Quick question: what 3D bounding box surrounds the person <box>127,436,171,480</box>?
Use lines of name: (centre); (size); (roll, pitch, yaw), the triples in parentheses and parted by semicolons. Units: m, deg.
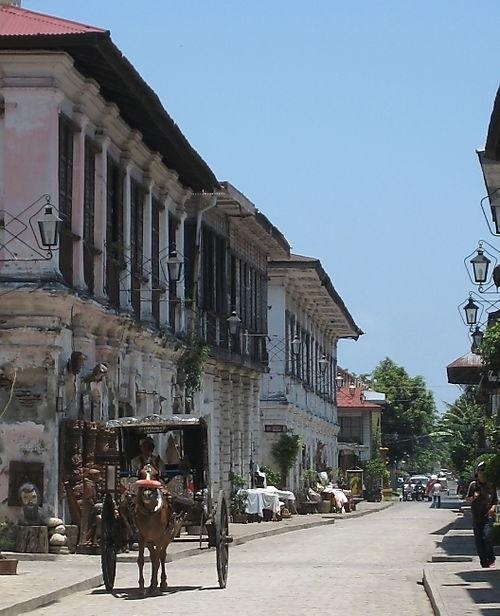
person: (-1.270, 1.891, 16.880); (0.301, 0.608, 0.979); (-1, -8, -3)

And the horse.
horse: (-1.168, 2.675, 16.222); (0.470, 1.437, 1.226); (-1, -17, -3)

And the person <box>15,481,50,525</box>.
person: (-3.324, 2.940, 20.231); (0.511, 0.974, 0.541); (-1, -17, -15)

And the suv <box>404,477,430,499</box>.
suv: (10.628, 11.544, 86.149); (1.244, 1.295, 2.277); (-3, -15, 8)

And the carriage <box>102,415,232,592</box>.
carriage: (-1.237, 2.524, 17.400); (1.524, 2.403, 3.473); (-1, -8, 1)

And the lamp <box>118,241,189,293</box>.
lamp: (-1.711, -0.840, 26.531); (0.471, 0.903, 1.476); (-9, 8, -43)

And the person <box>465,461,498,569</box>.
person: (3.384, 2.983, 19.416); (0.392, 1.610, 0.956); (-4, -17, 9)
